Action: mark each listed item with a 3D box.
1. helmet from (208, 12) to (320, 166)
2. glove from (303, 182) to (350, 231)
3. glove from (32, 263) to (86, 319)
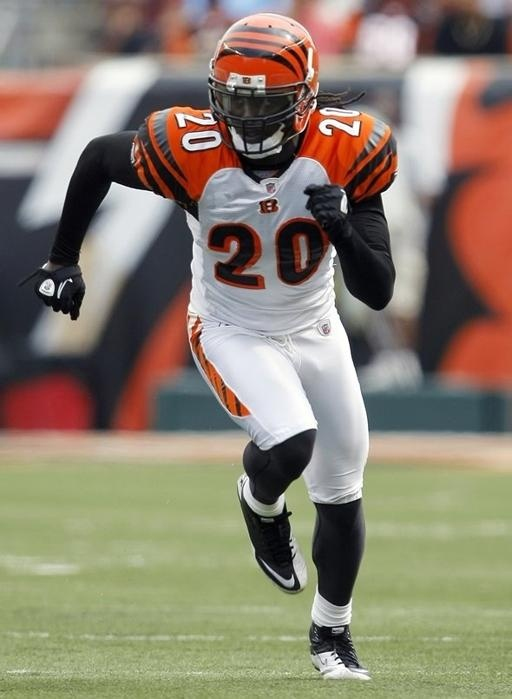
[{"bbox_3d":[0.041,-0.594,1.870,0.257,0.275,0.325,18,34,29],"label":"helmet"},{"bbox_3d":[0.138,-0.274,1.589,0.047,0.070,0.103,-28,-2,20],"label":"glove"},{"bbox_3d":[-0.498,-0.142,2.161,0.148,0.096,0.049,-10,74,6],"label":"glove"}]
